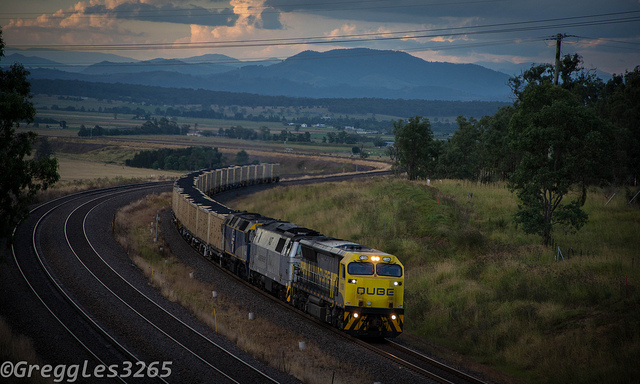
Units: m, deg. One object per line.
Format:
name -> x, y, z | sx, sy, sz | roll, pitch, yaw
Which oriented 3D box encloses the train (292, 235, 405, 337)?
train -> 3.312, 9.240, 59.015 | 4.997, 6.494, 16.026 | 2, 2, -17
